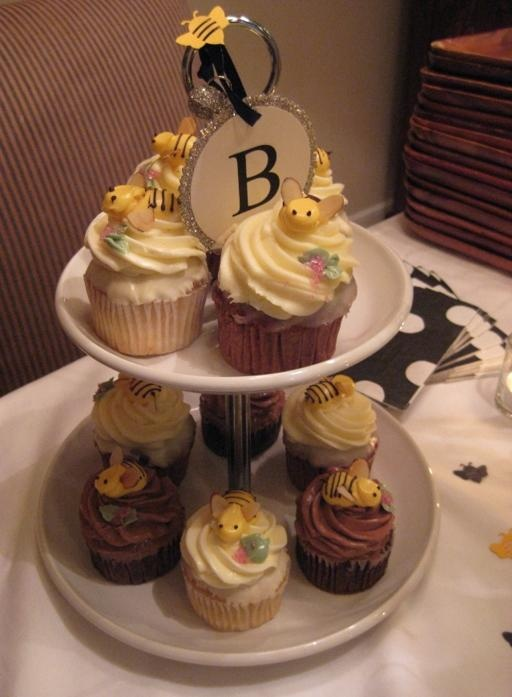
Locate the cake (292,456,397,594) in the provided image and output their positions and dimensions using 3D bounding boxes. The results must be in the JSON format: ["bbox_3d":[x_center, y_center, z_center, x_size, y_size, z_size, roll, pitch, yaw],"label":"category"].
[{"bbox_3d":[0.136,0.254,0.982,0.149,0.160,0.161,-11,29,-18],"label":"cake"}]

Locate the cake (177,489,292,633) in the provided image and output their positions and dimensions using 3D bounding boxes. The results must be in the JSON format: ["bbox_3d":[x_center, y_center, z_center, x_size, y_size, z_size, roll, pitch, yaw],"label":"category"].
[{"bbox_3d":[-0.024,0.282,0.918,0.163,0.170,0.159,-1,20,8],"label":"cake"}]

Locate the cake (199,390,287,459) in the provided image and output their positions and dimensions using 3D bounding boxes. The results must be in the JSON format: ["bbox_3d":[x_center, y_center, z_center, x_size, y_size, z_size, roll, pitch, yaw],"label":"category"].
[{"bbox_3d":[-0.025,0.122,1.200,0.155,0.122,0.133,2,-4,-19],"label":"cake"}]

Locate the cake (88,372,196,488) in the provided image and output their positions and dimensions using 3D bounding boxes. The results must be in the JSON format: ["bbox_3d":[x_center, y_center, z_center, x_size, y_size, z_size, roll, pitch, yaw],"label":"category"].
[{"bbox_3d":[-0.176,0.110,1.137,0.165,0.180,0.185,-19,46,-30],"label":"cake"}]
